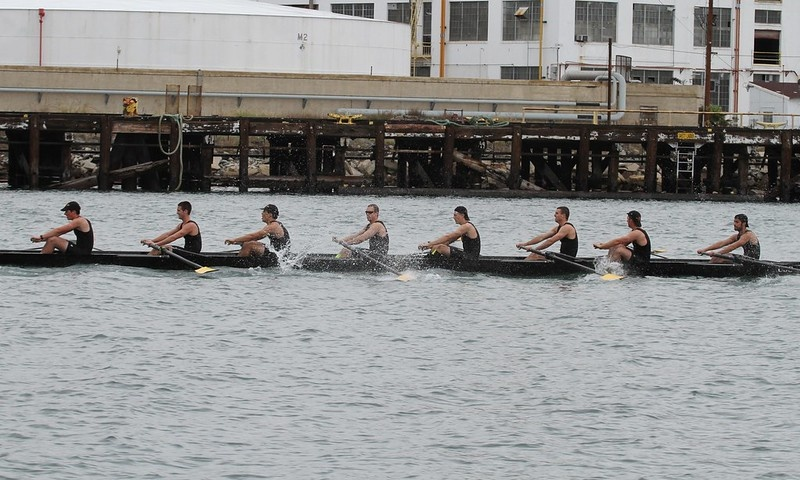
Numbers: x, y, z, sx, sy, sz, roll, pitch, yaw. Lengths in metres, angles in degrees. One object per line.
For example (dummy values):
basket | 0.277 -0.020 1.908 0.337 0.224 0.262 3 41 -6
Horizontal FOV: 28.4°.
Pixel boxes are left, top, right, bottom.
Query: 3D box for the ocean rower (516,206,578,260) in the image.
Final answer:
ocean rower | 5.343 0.131 57.091 2.514 2.417 1.438 -1 6 6

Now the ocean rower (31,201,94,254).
ocean rower | -11.860 -0.371 55.865 1.585 1.871 1.295 -1 3 2

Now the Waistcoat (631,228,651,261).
Waistcoat | 8.741 0.197 56.690 0.646 1.222 0.706 -1 3 8

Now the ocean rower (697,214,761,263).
ocean rower | 11.990 0.365 57.221 2.361 2.185 1.373 -4 7 -8

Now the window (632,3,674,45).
window | 15.921 -13.570 99.089 3.221 2.724 0.193 1 4 -9

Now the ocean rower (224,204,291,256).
ocean rower | -4.939 -0.316 56.226 1.774 1.807 1.315 -1 3 3

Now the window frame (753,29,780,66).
window frame | 23.812 -12.369 101.840 2.827 2.771 0.244 -1 2 -22

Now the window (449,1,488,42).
window | 4.530 -13.791 99.881 2.968 2.514 0.136 3 0 7

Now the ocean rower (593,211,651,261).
ocean rower | 8.057 0.317 57.159 2.221 2.654 1.282 5 7 5
